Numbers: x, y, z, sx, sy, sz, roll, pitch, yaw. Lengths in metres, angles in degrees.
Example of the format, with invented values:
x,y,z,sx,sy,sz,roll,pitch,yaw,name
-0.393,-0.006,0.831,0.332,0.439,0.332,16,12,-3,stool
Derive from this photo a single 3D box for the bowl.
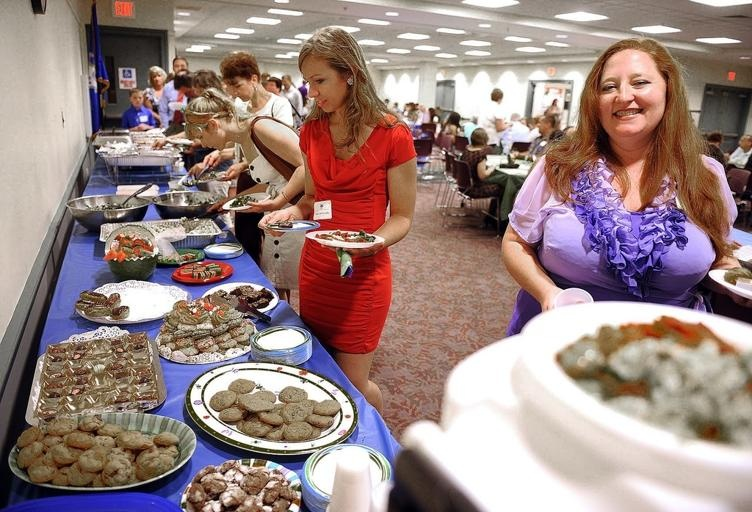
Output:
x,y,z,sx,sy,sz,roll,pitch,yaw,name
-1.281,-0.262,2.607,0.623,0.123,0.387,-1,11,-10,bowl

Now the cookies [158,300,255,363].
x,y,z,sx,sy,sz,roll,pitch,yaw,name
-0.537,0.233,1.488,0.219,0.086,0.214,2,25,-7,cookies
